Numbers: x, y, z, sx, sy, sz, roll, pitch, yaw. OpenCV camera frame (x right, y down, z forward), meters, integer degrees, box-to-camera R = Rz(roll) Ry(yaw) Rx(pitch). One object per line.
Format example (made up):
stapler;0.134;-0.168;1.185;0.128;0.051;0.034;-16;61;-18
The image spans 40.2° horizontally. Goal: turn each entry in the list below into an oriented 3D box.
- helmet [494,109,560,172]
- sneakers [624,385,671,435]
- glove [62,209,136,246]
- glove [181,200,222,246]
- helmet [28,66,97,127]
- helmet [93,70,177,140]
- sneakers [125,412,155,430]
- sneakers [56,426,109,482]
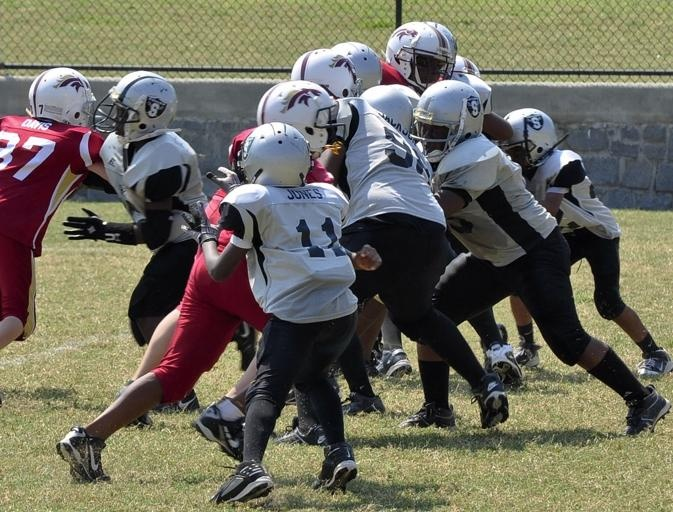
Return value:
helmet;1.417;-0.872;6.786;0.492;0.370;0.358;4;5;-1
sneakers;1.914;0.958;5.713;0.321;0.163;0.107;-43;16;-11
glove;-1.823;-0.215;7.065;0.476;0.242;0.143;4;5;-10
glove;-0.755;-0.172;5.163;0.255;0.241;0.111;-12;19;3
helmet;-1.895;-1.098;6.509;0.396;0.391;0.496;16;11;37
helmet;-1.397;-0.955;6.003;0.682;0.495;0.495;3;7;3
sneakers;-1.219;1.028;5.789;0.117;0.059;0.154;-15;1;-39
sneakers;-1.379;1.083;5.027;0.263;0.292;0.179;-4;14;-19
